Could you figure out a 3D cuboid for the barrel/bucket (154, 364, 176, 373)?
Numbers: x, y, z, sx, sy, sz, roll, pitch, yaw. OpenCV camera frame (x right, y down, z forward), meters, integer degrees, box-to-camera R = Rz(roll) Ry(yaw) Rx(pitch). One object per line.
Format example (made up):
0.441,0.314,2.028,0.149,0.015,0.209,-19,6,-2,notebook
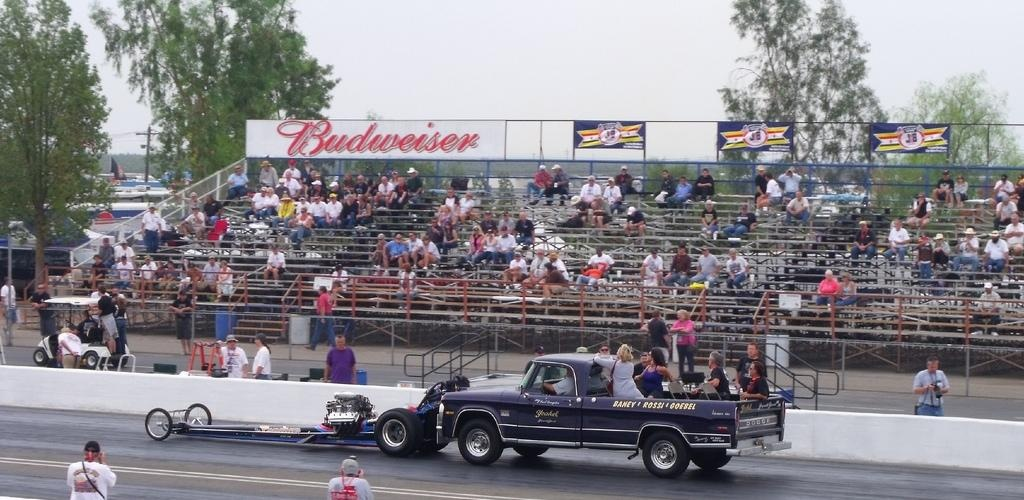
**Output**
-18.433,6.257,128.410,1.235,0.463,0.795,0,-1,34,barrel/bucket

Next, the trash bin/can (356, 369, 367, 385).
-7.986,6.707,128.170,0.736,0.763,0.904,-1,2,-27,trash bin/can

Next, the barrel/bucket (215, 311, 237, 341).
-16.125,4.138,133.846,1.766,2.077,1.545,1,2,-5,barrel/bucket

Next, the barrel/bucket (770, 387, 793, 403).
14.035,7.510,125.943,1.722,0.823,0.818,-1,-7,0,barrel/bucket

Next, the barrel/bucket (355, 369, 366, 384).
-7.979,6.690,128.173,0.730,0.749,0.897,-1,3,-28,barrel/bucket
